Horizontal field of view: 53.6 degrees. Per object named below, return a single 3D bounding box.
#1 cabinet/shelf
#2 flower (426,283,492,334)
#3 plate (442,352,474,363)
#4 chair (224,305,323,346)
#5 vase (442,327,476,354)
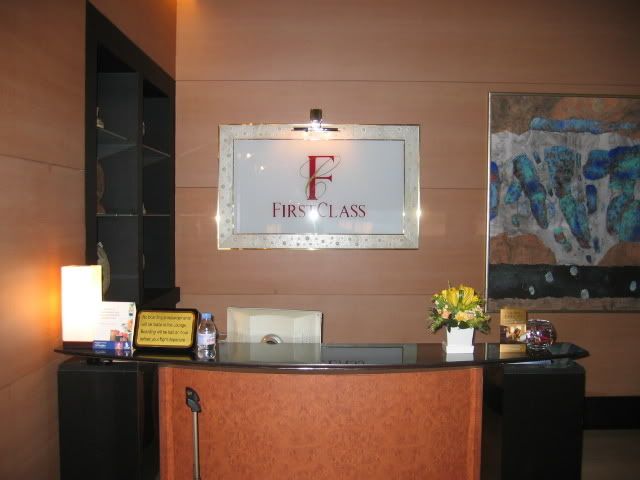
[{"bbox_3d":[-1.554,-0.565,5.176,0.444,2.233,1.406,0,-3,7],"label":"cabinet/shelf"},{"bbox_3d":[0.957,0.471,4.357,0.407,0.308,0.164,0,-3,15],"label":"flower"},{"bbox_3d":[0.942,0.791,4.253,0.196,0.045,0.182,0,-3,8],"label":"plate"},{"bbox_3d":[-0.324,0.621,4.581,0.662,0.224,0.137,1,-3,-6],"label":"chair"},{"bbox_3d":[0.949,0.680,4.342,0.177,0.179,0.179,1,-5,-14],"label":"vase"}]
